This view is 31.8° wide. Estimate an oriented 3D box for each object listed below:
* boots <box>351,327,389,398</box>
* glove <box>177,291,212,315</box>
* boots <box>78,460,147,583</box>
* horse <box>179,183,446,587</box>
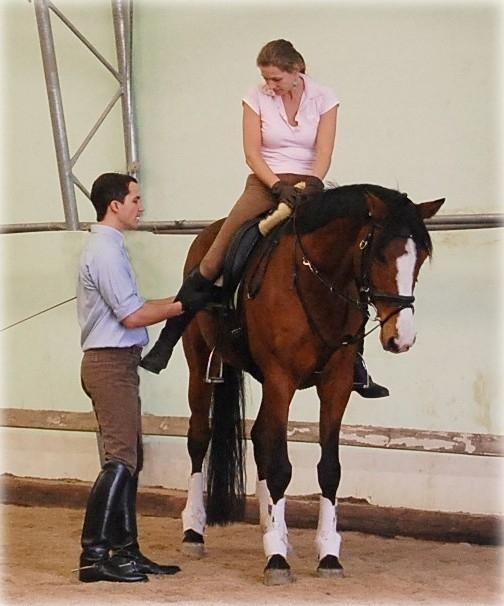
[{"bbox_3d":[0.731,0.435,5.171,0.178,0.207,0.526,2,-19,18],"label":"boots"},{"bbox_3d":[-0.298,0.023,4.577,0.114,0.050,0.145,5,-36,-9],"label":"glove"},{"bbox_3d":[-0.629,1.023,4.149,0.314,0.557,0.183,3,8,-8],"label":"boots"},{"bbox_3d":[0.172,0.445,4.754,0.687,1.841,2.494,2,-4,-24],"label":"horse"}]
